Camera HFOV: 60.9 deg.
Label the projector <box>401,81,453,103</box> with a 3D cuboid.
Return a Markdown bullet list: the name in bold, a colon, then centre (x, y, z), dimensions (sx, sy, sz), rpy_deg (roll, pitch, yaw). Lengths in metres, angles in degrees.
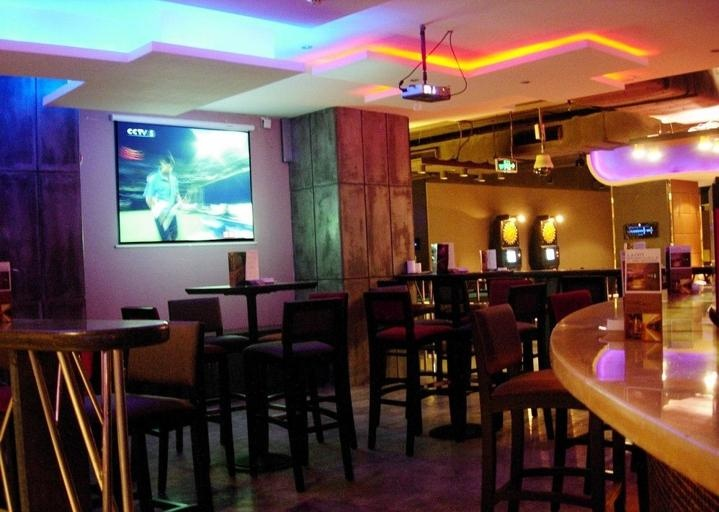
- **projector**: centre (0.603, -1.511, 5.599), dimensions (0.352, 0.184, 0.281), rpy_deg (-2, 2, 37)

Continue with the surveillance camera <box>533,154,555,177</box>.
- **surveillance camera**: centre (3.012, -1.539, 9.997), dimensions (0.242, 0.311, 0.477), rpy_deg (-3, 2, 21)
